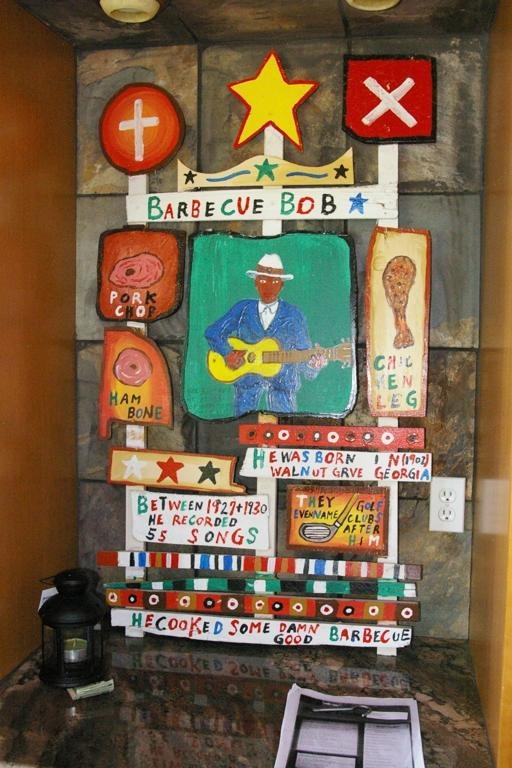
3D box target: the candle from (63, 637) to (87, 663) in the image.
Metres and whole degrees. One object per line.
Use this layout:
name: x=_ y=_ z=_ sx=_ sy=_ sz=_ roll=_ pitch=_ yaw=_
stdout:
candle: x=-0.413 y=0.605 z=2.054 sx=0.055 sy=0.046 sz=0.057 roll=-2 pitch=11 yaw=-10
